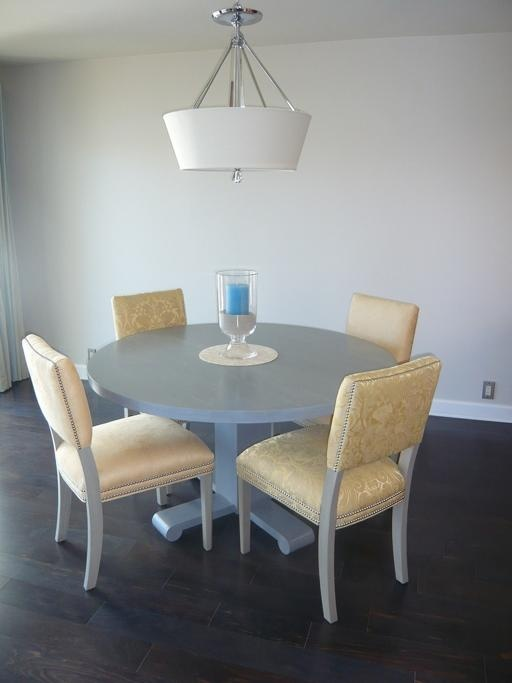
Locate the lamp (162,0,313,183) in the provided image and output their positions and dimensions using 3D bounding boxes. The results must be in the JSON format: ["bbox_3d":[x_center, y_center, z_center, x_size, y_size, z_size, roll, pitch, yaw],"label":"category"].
[{"bbox_3d":[-0.078,-0.824,1.819,0.430,0.595,0.469,-6,15,-24],"label":"lamp"}]

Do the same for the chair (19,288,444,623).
[{"bbox_3d":[0.001,0.264,2.143,1.294,0.700,1.291,7,17,29],"label":"chair"}]
